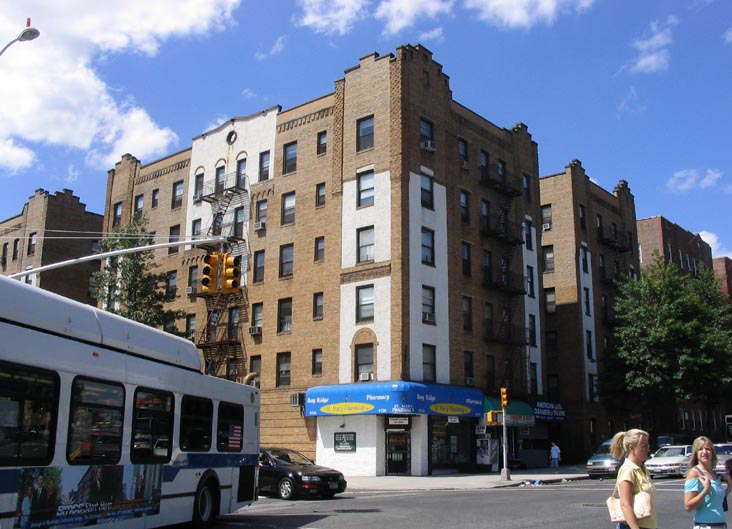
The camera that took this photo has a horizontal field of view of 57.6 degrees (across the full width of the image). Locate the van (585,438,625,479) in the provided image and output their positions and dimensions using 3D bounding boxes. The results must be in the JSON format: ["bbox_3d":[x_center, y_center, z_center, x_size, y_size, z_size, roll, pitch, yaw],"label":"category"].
[{"bbox_3d":[12.687,10.010,34.724,1.625,1.797,3.780,-11,-15,29],"label":"van"}]

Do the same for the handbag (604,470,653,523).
[{"bbox_3d":[3.227,2.966,8.154,0.492,0.365,0.402,11,-4,29],"label":"handbag"}]

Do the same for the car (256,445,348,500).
[{"bbox_3d":[-2.302,7.032,22.499,3.134,1.039,1.425,-21,-28,39],"label":"car"}]
